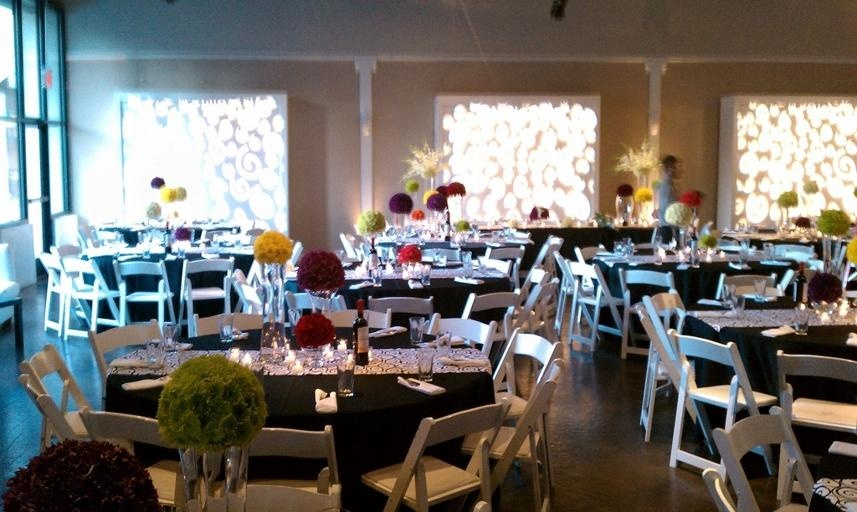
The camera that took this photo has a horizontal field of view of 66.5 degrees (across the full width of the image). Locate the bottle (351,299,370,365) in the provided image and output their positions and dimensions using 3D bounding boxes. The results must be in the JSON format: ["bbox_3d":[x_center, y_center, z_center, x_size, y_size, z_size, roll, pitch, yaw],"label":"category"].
[{"bbox_3d":[-0.512,0.558,4.842,0.116,0.537,0.388,-3,6,-7],"label":"bottle"}]

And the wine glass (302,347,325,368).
[{"bbox_3d":[-0.885,0.762,4.983,0.155,0.139,0.195,-3,6,-11],"label":"wine glass"}]

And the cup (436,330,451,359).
[{"bbox_3d":[0.112,0.692,5.148,0.151,0.238,0.161,-1,5,0],"label":"cup"}]

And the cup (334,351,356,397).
[{"bbox_3d":[-0.599,0.871,4.773,0.230,0.354,0.224,-1,3,0],"label":"cup"}]

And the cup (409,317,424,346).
[{"bbox_3d":[-0.095,0.584,5.086,0.099,0.249,0.203,-2,6,0],"label":"cup"}]
